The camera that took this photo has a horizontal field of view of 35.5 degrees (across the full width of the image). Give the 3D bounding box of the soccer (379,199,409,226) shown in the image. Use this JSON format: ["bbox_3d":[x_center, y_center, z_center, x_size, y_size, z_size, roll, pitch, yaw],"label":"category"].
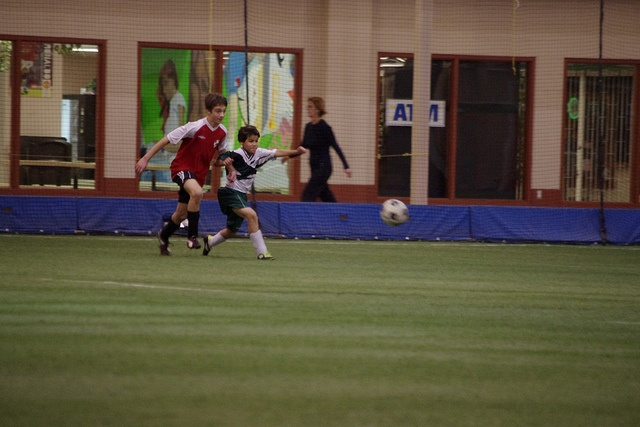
[{"bbox_3d":[1.312,-0.033,17.385,0.449,0.443,0.470,-12,-2,30],"label":"soccer"}]

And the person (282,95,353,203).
[{"bbox_3d":[-0.063,-1.151,19.269,1.604,2.232,1.065,-13,-26,24],"label":"person"}]
